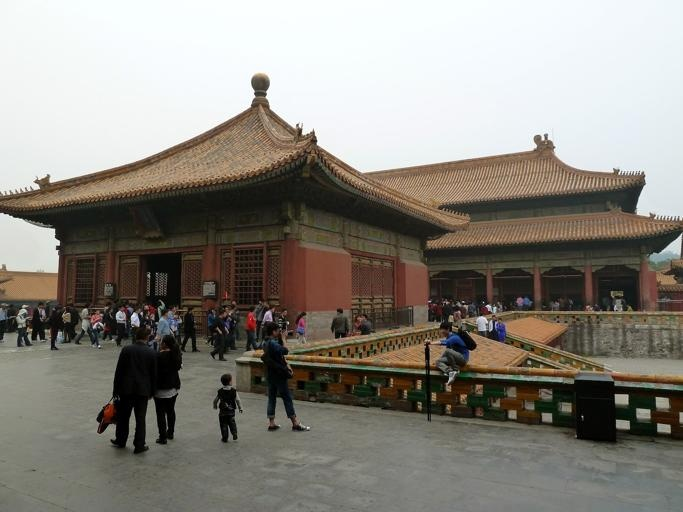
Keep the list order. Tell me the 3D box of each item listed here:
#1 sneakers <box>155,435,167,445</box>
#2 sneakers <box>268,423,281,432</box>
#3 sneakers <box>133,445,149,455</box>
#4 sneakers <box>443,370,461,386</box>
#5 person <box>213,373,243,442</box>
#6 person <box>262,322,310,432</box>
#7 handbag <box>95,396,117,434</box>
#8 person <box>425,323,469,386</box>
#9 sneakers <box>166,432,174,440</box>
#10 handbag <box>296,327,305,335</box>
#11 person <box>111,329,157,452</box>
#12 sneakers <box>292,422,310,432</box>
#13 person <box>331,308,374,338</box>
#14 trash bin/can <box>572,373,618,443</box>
[{"bbox_3d":[-3.045,3.140,10.330,0.090,0.085,0.205,9,-9,-36],"label":"sneakers"},{"bbox_3d":[-1.210,3.093,10.988,0.230,0.121,0.203,3,-9,-18],"label":"sneakers"},{"bbox_3d":[-3.250,3.143,9.938,0.091,0.162,0.245,6,9,28],"label":"sneakers"},{"bbox_3d":[2.122,2.328,11.674,0.187,0.128,0.383,3,-39,1],"label":"sneakers"},{"bbox_3d":[-2.008,2.648,10.724,0.480,1.131,0.757,2,-9,-11],"label":"person"},{"bbox_3d":[-1.102,2.227,11.394,0.722,1.920,0.954,1,-9,-5],"label":"person"},{"bbox_3d":[-3.929,2.666,10.182,0.244,0.619,0.504,17,-13,-37],"label":"handbag"},{"bbox_3d":[2.213,1.937,12.134,0.636,1.207,0.944,-2,-9,11],"label":"person"},{"bbox_3d":[-2.952,3.112,10.514,0.120,0.104,0.099,-2,-5,-3],"label":"sneakers"},{"bbox_3d":[-1.299,2.381,19.282,0.191,0.165,0.248,0,-2,5],"label":"handbag"},{"bbox_3d":[-3.467,2.225,10.195,0.703,2.033,0.426,0,-9,-1],"label":"person"},{"bbox_3d":[-0.732,3.093,10.977,0.316,0.129,0.145,4,-6,-19],"label":"sneakers"},{"bbox_3d":[0.321,2.327,20.891,1.276,1.394,0.304,0,10,5],"label":"person"},{"bbox_3d":[4.297,2.586,10.323,0.605,1.101,0.249,-2,-9,10],"label":"trash bin/can"}]
